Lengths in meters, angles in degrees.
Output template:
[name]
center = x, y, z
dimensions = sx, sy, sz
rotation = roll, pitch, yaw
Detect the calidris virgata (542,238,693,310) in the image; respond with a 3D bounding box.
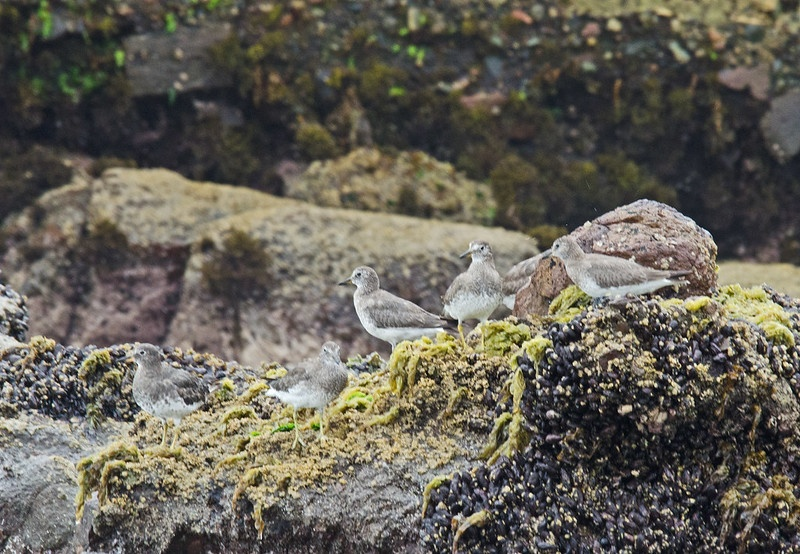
[calidris virgata]
center = 2.853, -0.008, 18.175
dimensions = 1.724, 0.327, 0.661
rotation = 19, 74, 5
